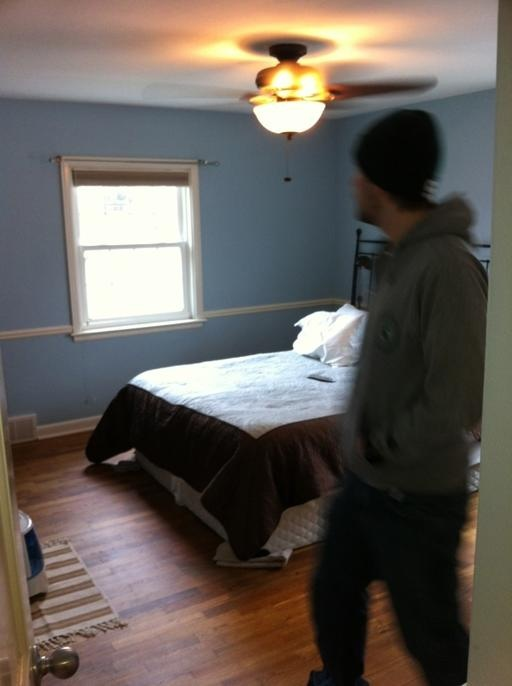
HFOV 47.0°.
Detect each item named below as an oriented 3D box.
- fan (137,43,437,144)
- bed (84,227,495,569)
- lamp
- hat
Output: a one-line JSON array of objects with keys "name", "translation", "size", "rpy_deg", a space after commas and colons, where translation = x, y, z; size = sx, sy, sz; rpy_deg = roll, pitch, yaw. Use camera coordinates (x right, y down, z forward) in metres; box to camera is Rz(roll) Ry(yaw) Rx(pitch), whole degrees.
[{"name": "fan", "translation": [0.141, -1.089, 2.552], "size": [1.192, 0.370, 1.164], "rpy_deg": [10, 22, 29]}, {"name": "bed", "translation": [0.271, 0.099, 3.260], "size": [1.861, 1.176, 1.447], "rpy_deg": [-13, 21, -37]}, {"name": "lamp", "translation": [0.146, -0.968, 2.568], "size": [0.280, 0.247, 0.258], "rpy_deg": [-8, -28, 17]}, {"name": "hat", "translation": [0.220, -0.311, 0.952], "size": [0.098, 0.105, 0.131], "rpy_deg": [-15, 50, -18]}]
